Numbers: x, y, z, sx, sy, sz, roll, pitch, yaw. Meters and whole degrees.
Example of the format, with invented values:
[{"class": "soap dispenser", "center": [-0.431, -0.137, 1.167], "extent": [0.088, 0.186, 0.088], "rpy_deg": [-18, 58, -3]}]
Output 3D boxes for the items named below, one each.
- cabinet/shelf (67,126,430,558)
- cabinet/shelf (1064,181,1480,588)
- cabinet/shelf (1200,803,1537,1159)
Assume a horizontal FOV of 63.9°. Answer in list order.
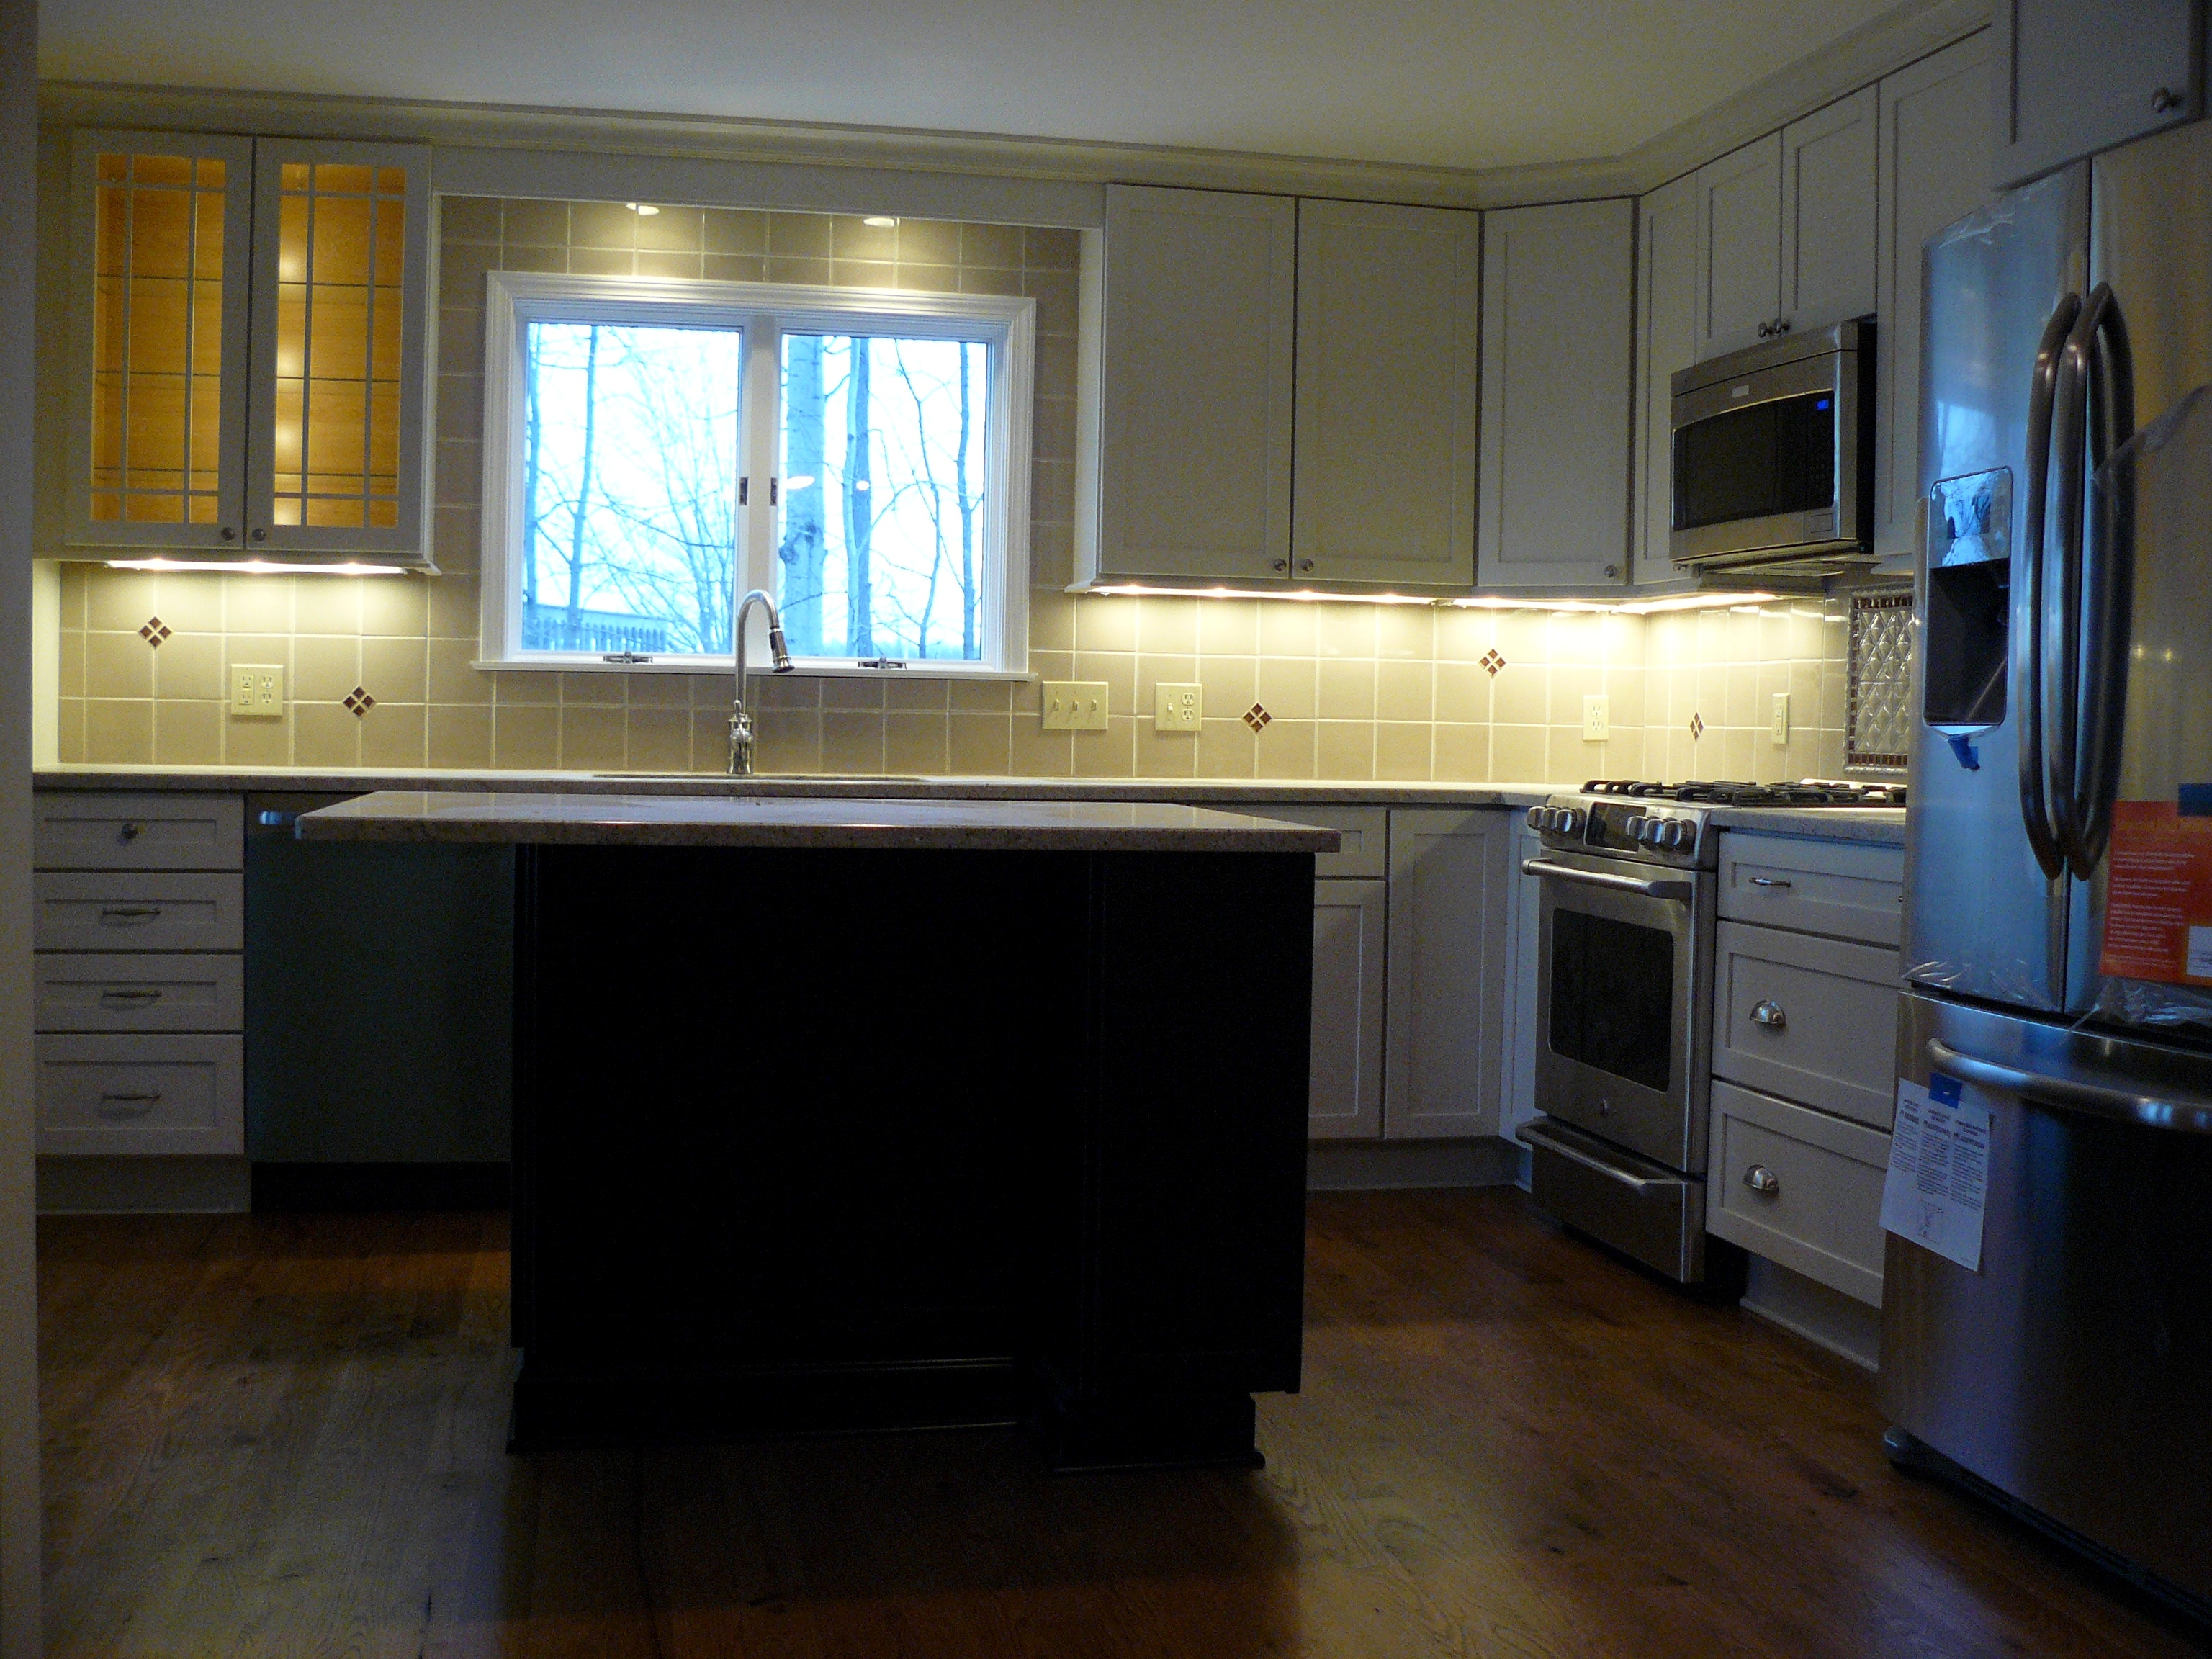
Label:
[{"class": "cabinet/shelf", "center": [-2.203, -1.254, 4.484], "extent": [0.959, 1.369, 0.463], "rpy_deg": [0, 1, -13]}, {"class": "cabinet/shelf", "center": [0.477, -1.184, 4.943], "extent": [1.051, 1.031, 0.389], "rpy_deg": [0, 2, -10]}, {"class": "cabinet/shelf", "center": [0.752, 0.363, 4.518], "extent": [0.622, 0.853, 0.198], "rpy_deg": [1, 7, 1]}]
